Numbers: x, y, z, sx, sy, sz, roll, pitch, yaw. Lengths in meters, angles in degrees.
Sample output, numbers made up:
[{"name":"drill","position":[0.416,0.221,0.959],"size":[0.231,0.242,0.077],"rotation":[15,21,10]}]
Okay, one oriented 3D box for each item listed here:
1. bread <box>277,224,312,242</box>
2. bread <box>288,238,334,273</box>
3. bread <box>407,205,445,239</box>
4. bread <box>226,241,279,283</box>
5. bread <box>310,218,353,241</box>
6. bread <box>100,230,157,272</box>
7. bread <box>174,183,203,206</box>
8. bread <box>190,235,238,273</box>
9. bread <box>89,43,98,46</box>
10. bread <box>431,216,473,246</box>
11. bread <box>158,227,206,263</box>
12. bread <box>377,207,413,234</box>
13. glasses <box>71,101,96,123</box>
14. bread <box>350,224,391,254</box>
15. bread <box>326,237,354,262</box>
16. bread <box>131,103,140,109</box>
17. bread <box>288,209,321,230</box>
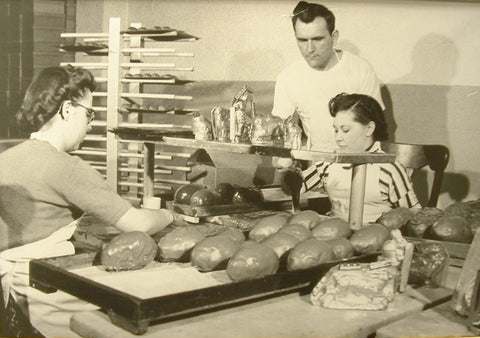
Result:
[{"name":"bread","position":[0.265,0.297,2.297],"size":[0.098,0.030,0.089],"rotation":[0,10,-21]},{"name":"bread","position":[0.306,0.368,2.142],"size":[0.173,0.060,0.119],"rotation":[-18,23,-37]},{"name":"bread","position":[1.045,0.296,2.723],"size":[0.215,0.074,0.128],"rotation":[-40,34,-26]},{"name":"bread","position":[0.059,0.416,2.106],"size":[0.200,0.106,0.126],"rotation":[-19,52,-24]},{"name":"bread","position":[0.446,0.289,2.362],"size":[0.143,0.049,0.101],"rotation":[-3,0,-36]},{"name":"bread","position":[-0.488,0.360,2.097],"size":[0.197,0.056,0.158],"rotation":[-21,66,-19]},{"name":"bread","position":[-0.332,0.149,3.154],"size":[0.140,0.085,0.143],"rotation":[14,26,39]},{"name":"bread","position":[-0.111,0.358,2.127],"size":[0.182,0.065,0.137],"rotation":[-29,50,-19]},{"name":"bread","position":[-1.357,-1.133,4.467],"size":[0.085,0.021,0.089],"rotation":[1,6,9]},{"name":"bread","position":[1.154,0.331,2.632],"size":[0.152,0.091,0.175],"rotation":[-10,8,-24]},{"name":"bread","position":[-0.273,0.343,2.250],"size":[0.185,0.104,0.139],"rotation":[-22,37,-24]},{"name":"bread","position":[0.851,0.279,2.668],"size":[0.107,0.065,0.206],"rotation":[-2,9,38]},{"name":"glasses","position":[-0.931,-0.330,2.869],"size":[0.111,0.033,0.105],"rotation":[23,0,0]},{"name":"bread","position":[0.634,0.353,2.364],"size":[0.170,0.087,0.117],"rotation":[-24,51,-16]},{"name":"bread","position":[0.462,0.365,2.217],"size":[0.109,0.058,0.080],"rotation":[-7,-14,5]},{"name":"bread","position":[-1.030,-0.611,4.762],"size":[0.079,0.030,0.101],"rotation":[1,12,-6]},{"name":"bread","position":[0.346,0.254,2.481],"size":[0.093,0.037,0.126],"rotation":[11,19,41]}]
